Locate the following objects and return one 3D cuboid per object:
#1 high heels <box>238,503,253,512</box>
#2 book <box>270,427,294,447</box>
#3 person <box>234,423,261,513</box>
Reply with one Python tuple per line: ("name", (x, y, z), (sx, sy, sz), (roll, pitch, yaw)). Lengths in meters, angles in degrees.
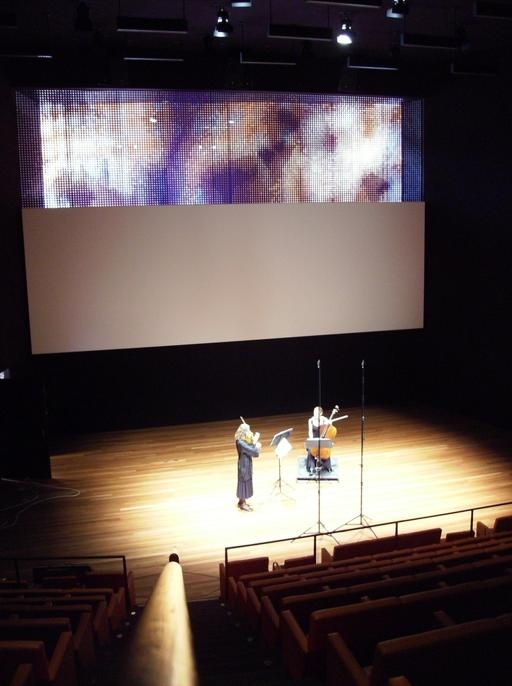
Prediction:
("high heels", (-0.138, 2.032, 7.087), (0.071, 0.122, 0.215), (12, -7, -35))
("book", (0.372, 1.375, 8.324), (0.284, 0.112, 0.455), (-41, -23, 4))
("person", (-0.119, 1.520, 7.351), (0.284, 1.070, 0.774), (0, 4, -1))
